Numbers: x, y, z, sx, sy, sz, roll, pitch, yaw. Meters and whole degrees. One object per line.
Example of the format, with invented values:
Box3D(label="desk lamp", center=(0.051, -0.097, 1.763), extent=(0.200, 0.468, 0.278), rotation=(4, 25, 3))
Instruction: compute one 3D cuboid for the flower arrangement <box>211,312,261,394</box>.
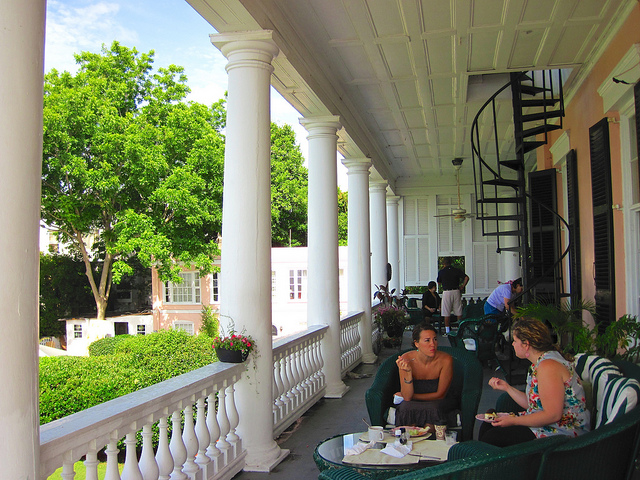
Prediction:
Box3D(label="flower arrangement", center=(-0.717, 0.988, 4.510), extent=(0.322, 0.518, 0.316), rotation=(-19, 0, 27))

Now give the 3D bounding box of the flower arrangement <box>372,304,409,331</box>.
Box3D(label="flower arrangement", center=(1.507, 1.661, 10.494), extent=(0.498, 0.386, 0.522), rotation=(0, -2, 22))

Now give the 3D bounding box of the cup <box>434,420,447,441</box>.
Box3D(label="cup", center=(0.806, 1.287, 3.346), extent=(0.088, 0.149, 0.100), rotation=(-1, -1, 7))

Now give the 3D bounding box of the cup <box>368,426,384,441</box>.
Box3D(label="cup", center=(0.369, 1.294, 3.278), extent=(0.069, 0.081, 0.115), rotation=(0, 5, -6))

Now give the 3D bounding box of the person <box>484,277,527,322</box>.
Box3D(label="person", center=(3.128, 1.009, 8.329), extent=(0.523, 0.382, 0.963), rotation=(18, -39, 13))

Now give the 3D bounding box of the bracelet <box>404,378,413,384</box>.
Box3D(label="bracelet", center=(0.723, 1.166, 4.048), extent=(0.069, 0.027, 0.028), rotation=(-3, -3, -16))

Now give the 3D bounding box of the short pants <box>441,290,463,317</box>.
Box3D(label="short pants", center=(2.935, 1.433, 11.055), extent=(0.579, 0.757, 0.264), rotation=(0, -5, -4))

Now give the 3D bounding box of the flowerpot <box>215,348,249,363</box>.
Box3D(label="flowerpot", center=(-0.814, 1.039, 4.403), extent=(0.199, 0.100, 0.145), rotation=(1, -8, 9))

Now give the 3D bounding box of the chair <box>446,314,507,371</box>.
Box3D(label="chair", center=(2.445, 1.526, 7.621), extent=(0.778, 1.057, 0.809), rotation=(-6, 12, -7))

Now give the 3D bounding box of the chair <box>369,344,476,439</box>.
Box3D(label="chair", center=(0.931, 1.375, 4.469), extent=(0.871, 0.873, 0.818), rotation=(-1, -10, 14))
